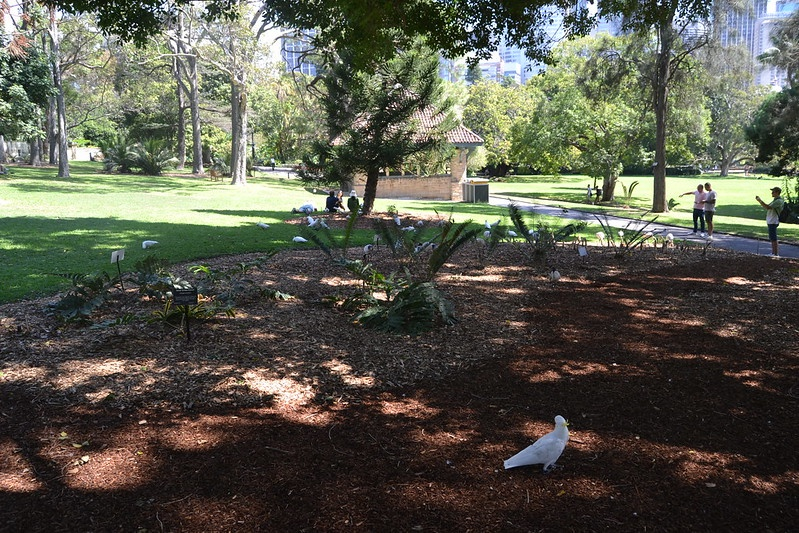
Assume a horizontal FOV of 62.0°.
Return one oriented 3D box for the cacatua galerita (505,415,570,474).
[{"bbox_3d":[1.272,1.692,6.300,0.687,0.472,0.281,-6,6,-5],"label":"cacatua galerita"}]
